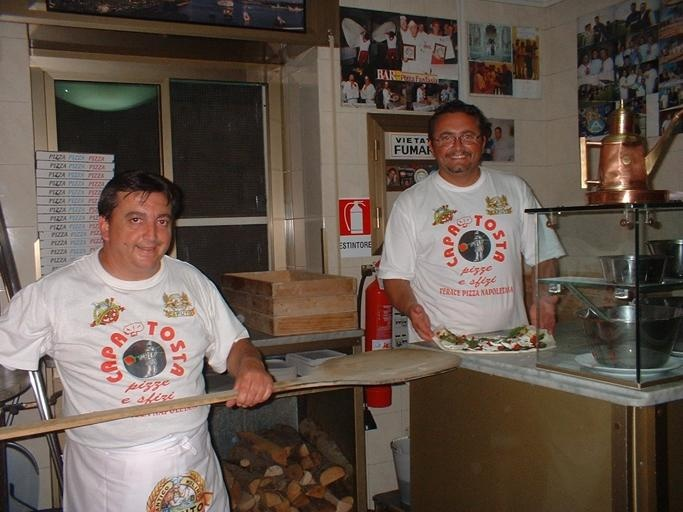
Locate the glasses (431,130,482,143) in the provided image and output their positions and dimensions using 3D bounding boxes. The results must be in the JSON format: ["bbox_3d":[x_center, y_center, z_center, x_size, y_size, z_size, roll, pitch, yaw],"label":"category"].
[{"bbox_3d":[0.534,-0.539,2.630,0.202,0.053,0.051,-2,3,12],"label":"glasses"}]

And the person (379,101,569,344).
[{"bbox_3d":[0.587,-0.192,2.697,0.772,1.075,0.375,-4,3,-15],"label":"person"}]

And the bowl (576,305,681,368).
[{"bbox_3d":[0.867,0.222,1.711,0.227,0.107,0.213,-1,-1,0],"label":"bowl"}]

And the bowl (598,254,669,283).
[{"bbox_3d":[0.840,0.039,1.636,0.169,0.083,0.068,-1,3,25],"label":"bowl"}]
